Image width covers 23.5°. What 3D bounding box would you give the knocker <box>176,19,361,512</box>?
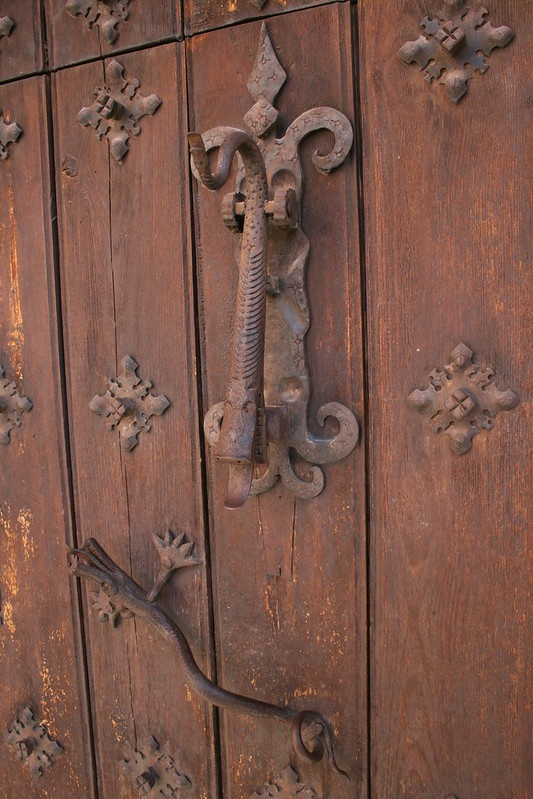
[{"bbox_3d":[0.019,-0.143,1.811,0.213,0.450,0.540,-1,-49,5],"label":"knocker"}]
